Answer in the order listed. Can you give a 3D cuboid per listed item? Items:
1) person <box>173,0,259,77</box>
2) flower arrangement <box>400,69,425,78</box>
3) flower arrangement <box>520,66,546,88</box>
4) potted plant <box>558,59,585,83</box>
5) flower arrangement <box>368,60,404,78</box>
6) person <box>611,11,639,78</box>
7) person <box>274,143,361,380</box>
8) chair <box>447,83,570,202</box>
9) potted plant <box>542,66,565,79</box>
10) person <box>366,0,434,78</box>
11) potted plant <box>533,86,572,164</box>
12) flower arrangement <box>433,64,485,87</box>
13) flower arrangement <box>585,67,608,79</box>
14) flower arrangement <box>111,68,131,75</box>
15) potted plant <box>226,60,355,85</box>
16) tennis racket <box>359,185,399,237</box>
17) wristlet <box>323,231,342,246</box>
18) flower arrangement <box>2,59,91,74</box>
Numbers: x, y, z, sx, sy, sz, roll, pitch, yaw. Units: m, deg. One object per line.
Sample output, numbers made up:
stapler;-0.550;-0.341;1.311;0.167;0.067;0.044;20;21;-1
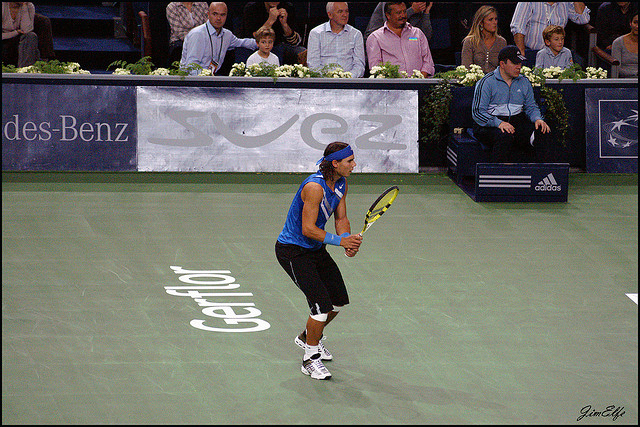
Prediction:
person;-2.230;-3.663;19.558;1.683;1.355;1.072;-11;39;-23
flower arrangement;1.883;-2.875;19.058;0.314;0.156;0.297;1;7;0
flower arrangement;4.289;-2.754;18.592;0.515;0.310;0.473;2;51;1
potted plant;5.168;-2.883;19.059;0.511;0.364;1.058;2;9;15
flower arrangement;1.324;-2.880;18.718;0.440;0.341;0.427;10;19;23
person;6.654;-3.632;20.267;0.523;1.304;0.708;2;9;16
person;-0.017;0.564;11.423;0.986;2.831;0.881;-1;9;-4
chair;3.671;-1.394;18.158;1.789;1.787;2.928;-1;16;-9
potted plant;4.677;-2.848;18.753;0.306;0.137;0.309;-13;9;-42
person;1.677;-3.664;19.523;1.392;1.566;0.639;0;9;5
potted plant;4.750;-1.714;18.715;0.856;1.501;1.130;0;-13;37
flower arrangement;2.838;-2.781;18.571;0.696;0.275;0.528;3;12;-2
flower arrangement;5.647;-2.894;19.063;0.315;0.186;0.305;13;-6;-5
flower arrangement;-3.962;-2.840;18.495;0.352;0.127;0.370;-2;8;-11
potted plant;-0.599;-2.888;18.857;2.428;0.480;1.015;-1;8;-2
tennis racket;0.939;0.013;14.666;0.062;1.015;0.299;40;-2;41
wristlet;0.144;0.322;11.341;0.186;0.146;0.184;21;43;-1
flower arrangement;-5.484;-2.915;18.448;1.592;0.283;0.836;-3;9;-17
